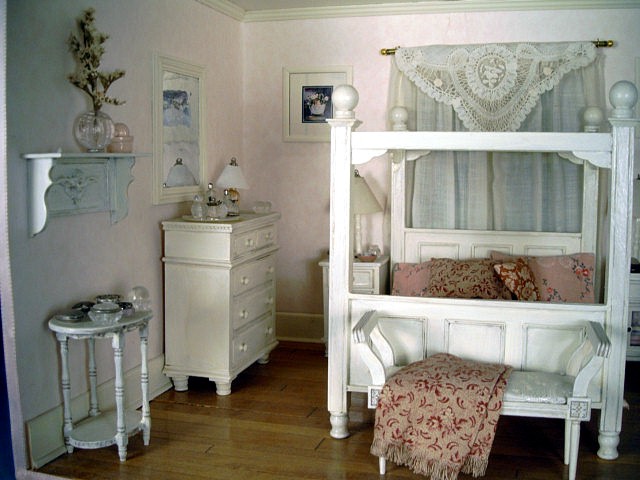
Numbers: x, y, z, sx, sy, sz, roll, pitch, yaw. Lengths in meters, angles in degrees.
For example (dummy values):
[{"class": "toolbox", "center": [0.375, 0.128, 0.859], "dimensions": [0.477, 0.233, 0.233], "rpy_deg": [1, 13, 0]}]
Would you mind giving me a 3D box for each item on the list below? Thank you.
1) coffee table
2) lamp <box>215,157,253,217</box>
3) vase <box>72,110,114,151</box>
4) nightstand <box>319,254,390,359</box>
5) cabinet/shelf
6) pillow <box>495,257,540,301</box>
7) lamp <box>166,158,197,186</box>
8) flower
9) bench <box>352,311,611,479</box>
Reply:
[{"class": "coffee table", "center": [-1.350, 0.903, 3.524], "dimensions": [0.528, 0.839, 0.688], "rpy_deg": [1, 3, 10]}, {"class": "lamp", "center": [-0.769, -0.456, 4.837], "dimensions": [0.264, 0.512, 0.269], "rpy_deg": [2, 2, 32]}, {"class": "vase", "center": [-1.393, -0.660, 3.390], "dimensions": [0.207, 0.248, 0.131], "rpy_deg": [1, 9, 6]}, {"class": "nightstand", "center": [0.376, 0.553, 4.881], "dimensions": [0.686, 1.233, 0.719], "rpy_deg": [0, 2, 12]}, {"class": "cabinet/shelf", "center": [-0.782, 0.471, 4.614], "dimensions": [0.561, 1.367, 0.962], "rpy_deg": [5, 8, 17]}, {"class": "pillow", "center": [1.527, 0.311, 4.332], "dimensions": [0.294, 0.303, 0.089], "rpy_deg": [1, -28, -46]}, {"class": "lamp", "center": [-1.126, -0.538, 4.460], "dimensions": [0.181, 0.160, 0.185], "rpy_deg": [14, 20, 42]}, {"class": "flower", "center": [-1.382, -1.132, 3.513], "dimensions": [0.276, 0.651, 0.441], "rpy_deg": [1, 9, 8]}, {"class": "bench", "center": [0.987, 0.936, 3.334], "dimensions": [1.371, 0.873, 0.704], "rpy_deg": [4, 9, 18]}]
